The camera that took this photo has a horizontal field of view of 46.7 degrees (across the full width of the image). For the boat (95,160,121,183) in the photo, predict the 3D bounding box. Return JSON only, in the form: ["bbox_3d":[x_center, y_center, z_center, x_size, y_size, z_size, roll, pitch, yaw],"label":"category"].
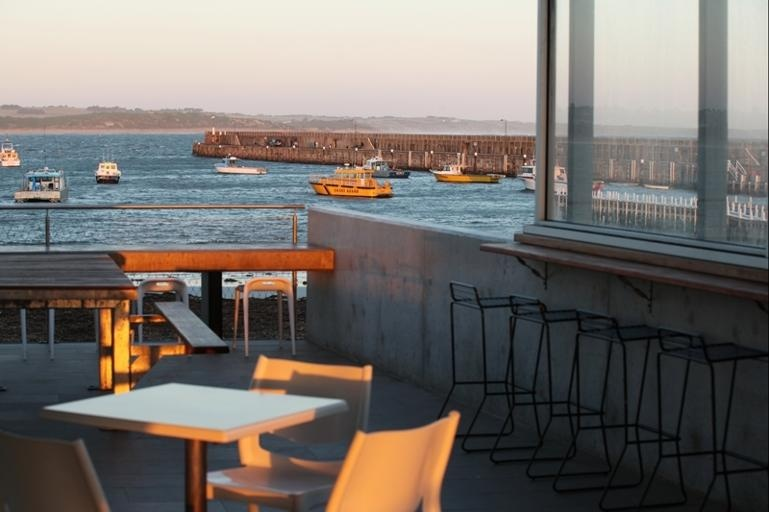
[{"bbox_3d":[-21.107,-6.318,68.024,1.513,1.455,2.459,-1,9,-8],"label":"boat"}]

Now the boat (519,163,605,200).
[{"bbox_3d":[1.220,-0.528,6.063,0.196,0.264,0.605,8,0,-40],"label":"boat"}]

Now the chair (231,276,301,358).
[{"bbox_3d":[-1.094,0.528,8.127,0.664,0.694,0.646,0,2,8],"label":"chair"}]

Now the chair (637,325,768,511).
[{"bbox_3d":[1.696,0.891,4.831,0.736,1.010,0.562,9,13,43],"label":"chair"}]

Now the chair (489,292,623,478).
[{"bbox_3d":[1.139,0.802,6.058,0.998,1.477,0.868,-2,6,-18],"label":"chair"}]

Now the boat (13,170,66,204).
[{"bbox_3d":[-18.872,-3.829,49.172,2.015,1.366,3.836,-1,6,-10],"label":"boat"}]

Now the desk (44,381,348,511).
[{"bbox_3d":[-0.790,0.676,3.765,0.771,0.706,0.767,5,7,23],"label":"desk"}]

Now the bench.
[{"bbox_3d":[-1.421,0.531,6.558,0.285,0.106,1.385,-3,10,-23],"label":"bench"}]
